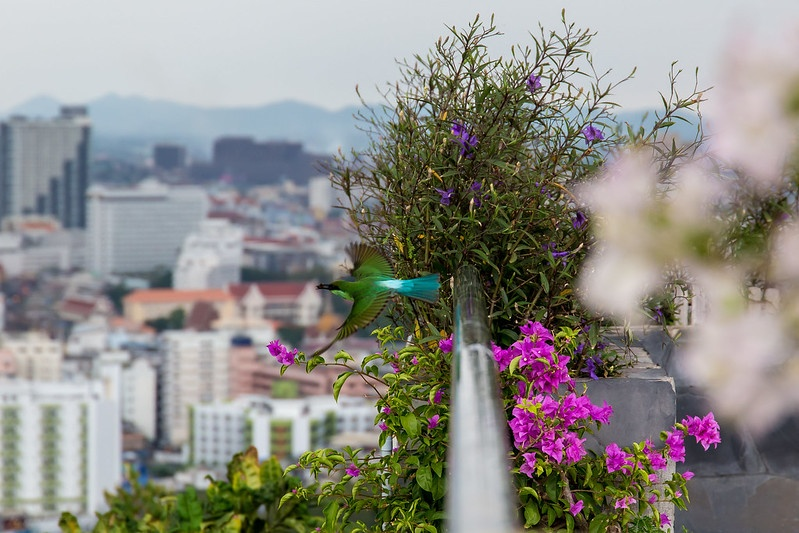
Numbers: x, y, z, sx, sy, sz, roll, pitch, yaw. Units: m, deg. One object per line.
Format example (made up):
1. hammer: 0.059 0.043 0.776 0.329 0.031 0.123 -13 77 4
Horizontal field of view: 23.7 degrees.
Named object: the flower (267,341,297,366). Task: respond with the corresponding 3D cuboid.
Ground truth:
1. flower: -0.786 0.574 12.591 0.196 0.171 0.133 -1 -6 6
